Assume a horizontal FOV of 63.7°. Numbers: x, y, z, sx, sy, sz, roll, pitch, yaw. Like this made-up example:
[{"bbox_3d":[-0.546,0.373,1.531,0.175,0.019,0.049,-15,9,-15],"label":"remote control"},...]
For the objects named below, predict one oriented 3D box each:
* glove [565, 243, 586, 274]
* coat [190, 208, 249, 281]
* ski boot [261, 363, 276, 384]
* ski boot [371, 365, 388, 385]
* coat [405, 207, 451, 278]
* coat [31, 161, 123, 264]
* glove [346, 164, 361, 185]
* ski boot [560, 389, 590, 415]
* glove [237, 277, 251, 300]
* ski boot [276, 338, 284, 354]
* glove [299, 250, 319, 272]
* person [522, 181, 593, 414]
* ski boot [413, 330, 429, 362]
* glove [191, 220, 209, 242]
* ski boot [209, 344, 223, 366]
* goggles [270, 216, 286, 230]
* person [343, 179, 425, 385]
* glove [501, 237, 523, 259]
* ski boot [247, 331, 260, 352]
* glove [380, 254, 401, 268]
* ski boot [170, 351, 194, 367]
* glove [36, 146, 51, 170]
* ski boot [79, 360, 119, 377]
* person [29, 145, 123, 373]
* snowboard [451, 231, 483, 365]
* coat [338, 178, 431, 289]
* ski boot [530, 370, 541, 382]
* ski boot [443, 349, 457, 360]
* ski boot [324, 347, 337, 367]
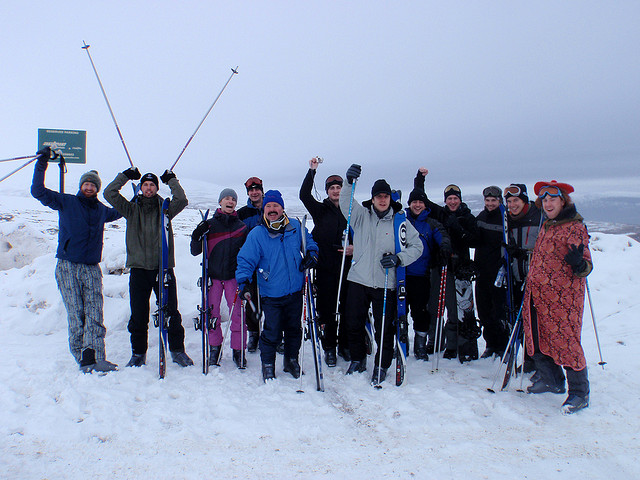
[{"bbox_3d":[3.510,0.271,7.060,0.117,0.375,0.264,4,-35,-30],"label":"glove"},{"bbox_3d":[-1.556,0.092,8.421,0.811,1.273,0.694,6,17,-11],"label":"coat"},{"bbox_3d":[-0.774,2.042,7.938,0.226,0.267,0.245,-2,1,-20],"label":"ski boot"},{"bbox_3d":[0.909,2.078,7.841,0.161,0.312,0.290,5,-14,9],"label":"ski boot"},{"bbox_3d":[1.772,0.061,8.496,0.901,0.818,0.295,9,-11,-2],"label":"coat"},{"bbox_3d":[-3.764,-0.342,8.221,0.459,1.474,1.830,-3,-11,32],"label":"coat"},{"bbox_3d":[0.508,-0.966,7.654,0.178,0.262,0.279,-2,1,1],"label":"glove"},{"bbox_3d":[3.569,2.296,7.237,0.527,0.239,0.184,-8,-11,-32],"label":"ski boot"},{"bbox_3d":[-1.150,0.726,7.738,0.311,0.315,0.154,0,2,42],"label":"glove"},{"bbox_3d":[-0.680,1.888,8.980,0.120,0.197,0.423,3,5,-8],"label":"ski boot"},{"bbox_3d":[-0.151,0.323,7.967,0.105,0.292,0.306,34,22,-13],"label":"glove"},{"bbox_3d":[3.404,0.797,7.405,0.882,3.282,0.516,-1,1,28],"label":"person"},{"bbox_3d":[1.751,1.809,8.864,0.287,0.502,0.276,-1,1,24],"label":"ski boot"},{"bbox_3d":[-1.871,-0.141,8.114,0.098,0.317,0.222,21,13,-40],"label":"glove"},{"bbox_3d":[-1.671,1.842,8.268,0.196,0.298,0.140,-2,1,-14],"label":"ski boot"},{"bbox_3d":[-0.629,-0.250,7.942,0.268,0.183,0.096,-2,2,-26],"label":"goggles"},{"bbox_3d":[0.936,0.644,7.965,1.120,3.088,0.685,-1,1,6],"label":"person"},{"bbox_3d":[3.091,0.144,8.236,0.101,0.304,0.207,-28,-12,33],"label":"glove"},{"bbox_3d":[-1.174,1.797,9.078,0.197,0.318,0.285,-2,1,-1],"label":"ski boot"},{"bbox_3d":[1.066,0.320,7.697,0.288,0.193,0.229,-1,1,22],"label":"glove"},{"bbox_3d":[-2.198,1.905,8.236,0.419,0.201,0.220,-1,1,24],"label":"ski boot"},{"bbox_3d":[-4.162,-1.240,7.790,0.177,0.273,0.272,-2,1,-28],"label":"glove"},{"bbox_3d":[-3.349,1.945,7.853,0.539,0.151,0.198,-2,1,-22],"label":"ski boot"},{"bbox_3d":[-3.698,0.286,7.948,1.093,2.645,0.631,-2,1,-25],"label":"person"},{"bbox_3d":[2.493,0.972,8.683,0.497,2.237,0.645,-1,1,16],"label":"snowboard"},{"bbox_3d":[0.952,0.022,7.966,1.444,2.184,1.096,3,-3,-10],"label":"coat"},{"bbox_3d":[3.332,2.075,7.908,0.051,0.219,0.130,36,-6,-3],"label":"ski boot"},{"bbox_3d":[2.270,1.985,8.901,0.189,0.218,0.119,-1,4,-8],"label":"ski boot"},{"bbox_3d":[0.181,1.944,8.508,0.188,0.286,0.221,-2,1,-1],"label":"ski boot"}]
